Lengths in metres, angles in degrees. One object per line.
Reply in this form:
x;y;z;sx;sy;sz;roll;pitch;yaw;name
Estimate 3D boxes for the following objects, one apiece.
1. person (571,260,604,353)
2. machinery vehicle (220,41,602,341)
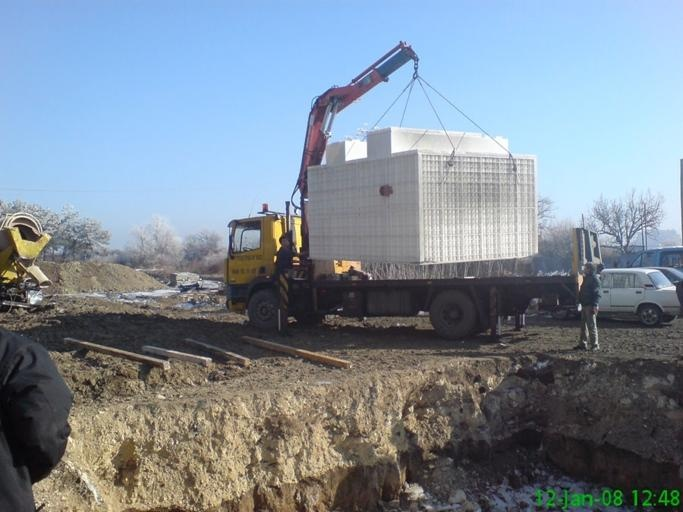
5.511;1.099;13.006;0.565;1.853;0.995;9;11;24;person
1.390;-1.527;15.432;9.509;7.377;3.176;1;1;27;machinery vehicle
